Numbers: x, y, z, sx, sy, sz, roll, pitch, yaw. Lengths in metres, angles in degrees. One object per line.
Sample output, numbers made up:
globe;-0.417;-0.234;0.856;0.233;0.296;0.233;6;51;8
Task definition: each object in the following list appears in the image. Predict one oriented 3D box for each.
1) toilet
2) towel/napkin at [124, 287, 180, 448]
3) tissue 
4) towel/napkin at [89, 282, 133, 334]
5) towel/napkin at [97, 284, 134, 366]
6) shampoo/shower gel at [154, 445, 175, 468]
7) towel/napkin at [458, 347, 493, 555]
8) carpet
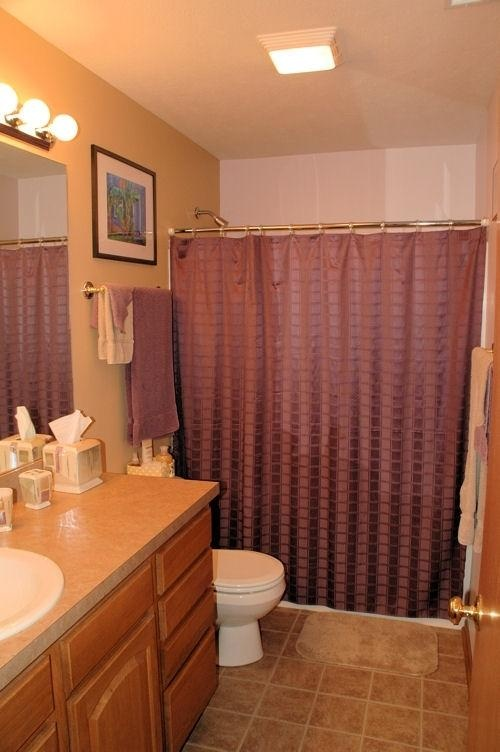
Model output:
toilet;-0.010;0.962;2.355;0.292;0.339;0.384;0;-7;-16
towel/napkin;-0.419;-0.056;2.495;0.108;0.648;0.377;1;5;14
tissue ;-0.563;0.240;1.873;0.199;0.248;0.172;-3;6;-27
towel/napkin;-0.509;-0.266;2.183;0.051;0.163;0.149;3;5;31
towel/napkin;-0.514;-0.199;2.180;0.112;0.362;0.249;4;8;15
shampoo/shower gel;-0.399;0.360;2.620;0.091;0.142;0.088;0;-1;-10
towel/napkin;0.730;0.304;1.889;0.085;0.779;0.714;2;5;21
carpet;0.506;1.151;2.493;0.590;0.017;0.424;1;5;14
